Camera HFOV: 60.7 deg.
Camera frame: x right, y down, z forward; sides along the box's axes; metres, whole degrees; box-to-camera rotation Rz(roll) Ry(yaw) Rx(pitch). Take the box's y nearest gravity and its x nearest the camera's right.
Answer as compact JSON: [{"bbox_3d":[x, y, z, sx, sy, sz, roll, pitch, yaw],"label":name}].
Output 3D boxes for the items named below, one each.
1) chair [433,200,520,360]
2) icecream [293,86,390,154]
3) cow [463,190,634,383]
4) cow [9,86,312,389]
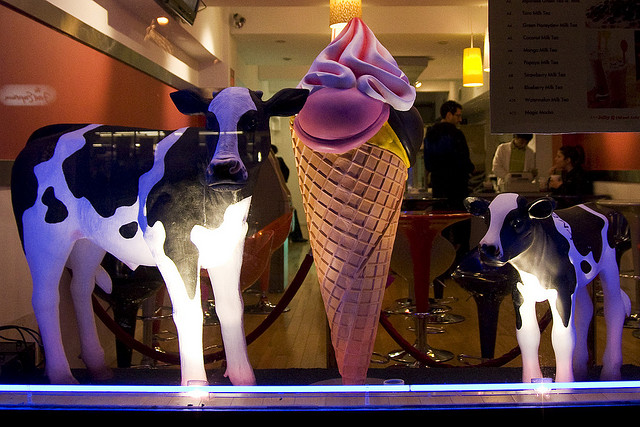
[{"bbox_3d":[0.695,0.315,2.209,0.283,0.398,0.292,3,-11,-36],"label":"chair"},{"bbox_3d":[0.059,-0.315,1.828,0.220,0.261,0.081,8,-12,14],"label":"icecream"},{"bbox_3d":[0.907,0.276,2.084,0.693,0.703,0.205,-1,-1,-17],"label":"cow"},{"bbox_3d":[-0.577,0.101,1.913,1.096,1.056,0.319,-1,-1,2],"label":"cow"}]
